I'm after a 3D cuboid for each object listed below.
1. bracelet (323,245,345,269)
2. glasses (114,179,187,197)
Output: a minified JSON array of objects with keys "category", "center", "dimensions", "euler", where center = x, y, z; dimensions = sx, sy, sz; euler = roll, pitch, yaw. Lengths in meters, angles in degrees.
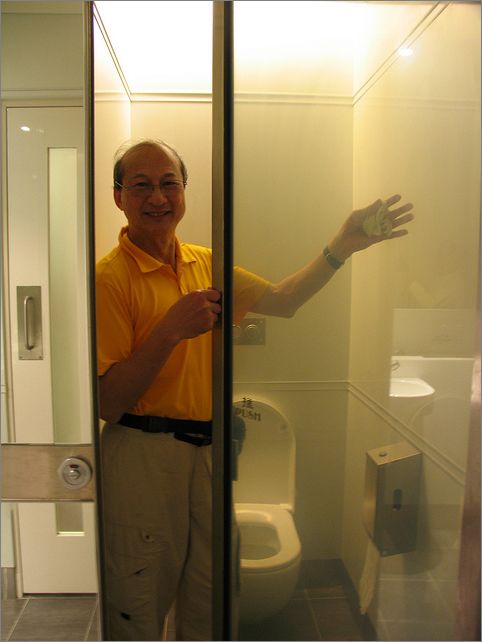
[{"category":"bracelet","center":[0.144,-0.102,0.938],"dimensions":[0.013,0.031,0.034],"euler":[-26,34,-7]},{"category":"glasses","center":[-0.220,-0.310,1.380],"dimensions":[0.160,0.040,0.024],"euler":[-1,7,-4]}]
